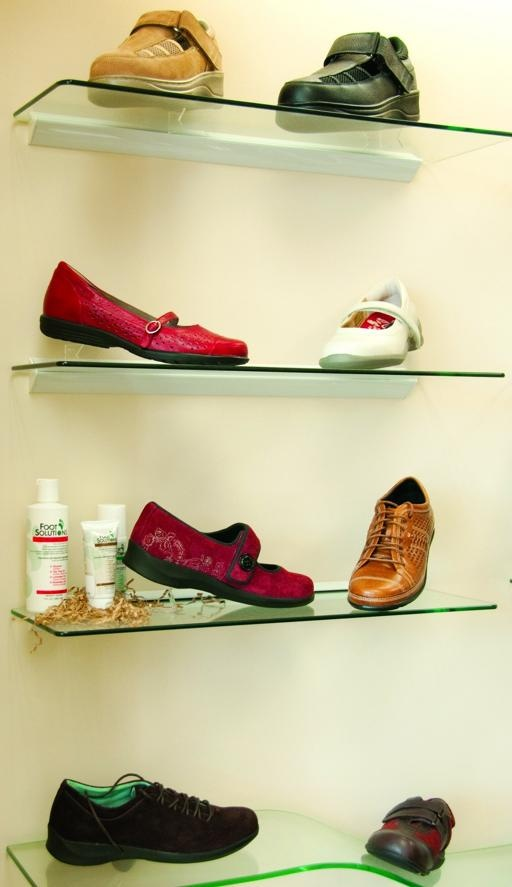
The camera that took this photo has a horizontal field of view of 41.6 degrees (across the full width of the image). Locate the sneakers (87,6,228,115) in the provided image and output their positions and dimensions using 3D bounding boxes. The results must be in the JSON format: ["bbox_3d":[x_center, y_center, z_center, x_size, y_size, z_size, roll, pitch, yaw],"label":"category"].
[{"bbox_3d":[-0.110,-0.449,0.823,0.097,0.096,0.193,19,26,30],"label":"sneakers"}]

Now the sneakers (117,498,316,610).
[{"bbox_3d":[-0.056,0.154,0.922,0.302,0.126,0.105,20,-3,-17],"label":"sneakers"}]

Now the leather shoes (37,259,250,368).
[{"bbox_3d":[-0.156,-0.148,0.919,0.319,0.145,0.110,10,3,-9],"label":"leather shoes"}]

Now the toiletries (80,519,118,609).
[{"bbox_3d":[-0.190,0.146,0.839,0.053,0.106,0.047,-5,8,-36],"label":"toiletries"}]

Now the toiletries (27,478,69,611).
[{"bbox_3d":[-0.279,0.124,0.889,0.052,0.161,0.160,-3,7,-19],"label":"toiletries"}]

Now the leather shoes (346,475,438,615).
[{"bbox_3d":[0.191,0.135,0.969,0.079,0.091,0.243,0,20,17],"label":"leather shoes"}]

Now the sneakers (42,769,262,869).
[{"bbox_3d":[-0.145,0.492,0.930,0.301,0.131,0.118,3,-6,-17],"label":"sneakers"}]

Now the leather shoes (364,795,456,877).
[{"bbox_3d":[0.239,0.615,1.041,0.101,0.102,0.172,3,7,29],"label":"leather shoes"}]

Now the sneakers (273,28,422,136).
[{"bbox_3d":[0.140,-0.494,0.924,0.255,0.127,0.092,-22,28,-34],"label":"sneakers"}]

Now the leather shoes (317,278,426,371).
[{"bbox_3d":[0.160,-0.166,0.963,0.091,0.082,0.220,1,25,24],"label":"leather shoes"}]
